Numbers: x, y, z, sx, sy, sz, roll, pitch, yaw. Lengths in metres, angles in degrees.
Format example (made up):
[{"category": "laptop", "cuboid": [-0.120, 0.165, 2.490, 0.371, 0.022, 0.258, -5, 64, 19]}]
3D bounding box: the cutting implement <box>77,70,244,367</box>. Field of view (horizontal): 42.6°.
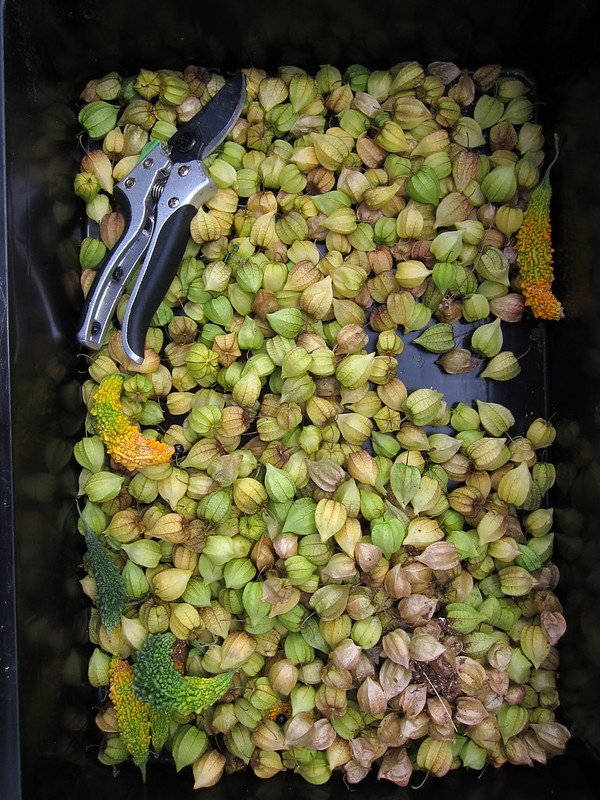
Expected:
[{"category": "cutting implement", "cuboid": [-0.243, -0.339, 1.495, 0.213, 0.110, 0.656, 24, 92, 11]}]
